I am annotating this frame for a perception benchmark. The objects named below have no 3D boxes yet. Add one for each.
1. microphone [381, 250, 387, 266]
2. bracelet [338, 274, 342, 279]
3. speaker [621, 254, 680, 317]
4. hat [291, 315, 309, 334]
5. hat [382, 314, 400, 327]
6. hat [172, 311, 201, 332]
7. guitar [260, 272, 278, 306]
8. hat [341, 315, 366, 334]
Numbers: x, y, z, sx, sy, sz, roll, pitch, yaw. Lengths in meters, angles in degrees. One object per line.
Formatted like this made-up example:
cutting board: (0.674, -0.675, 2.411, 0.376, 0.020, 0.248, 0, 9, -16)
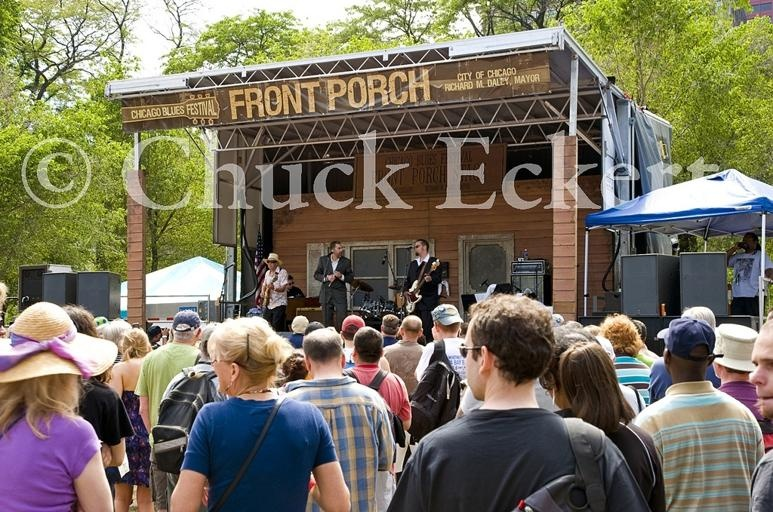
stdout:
microphone: (-0.042, 0.062, 21.577, 0.065, 0.258, 0.184, 14, 17, 2)
bracelet: (-0.867, 0.369, 17.155, 0.019, 0.074, 0.072, -17, 47, -24)
speaker: (4.021, 0.455, 13.944, 0.450, 0.827, 0.901, -1, -5, 38)
hat: (-1.088, 0.861, 11.554, 0.194, 0.176, 0.309, 0, 4, -6)
hat: (0.046, 0.738, 10.402, 0.130, 0.166, 0.175, 5, 14, 17)
hat: (-1.935, 0.648, 8.891, 0.251, 0.193, 0.408, 6, -6, -5)
guitar: (-2.274, 0.641, 17.744, 0.410, 0.592, 0.216, 9, -5, 42)
hat: (-0.341, 0.700, 9.451, 0.162, 0.126, 0.243, 0, 3, 3)
